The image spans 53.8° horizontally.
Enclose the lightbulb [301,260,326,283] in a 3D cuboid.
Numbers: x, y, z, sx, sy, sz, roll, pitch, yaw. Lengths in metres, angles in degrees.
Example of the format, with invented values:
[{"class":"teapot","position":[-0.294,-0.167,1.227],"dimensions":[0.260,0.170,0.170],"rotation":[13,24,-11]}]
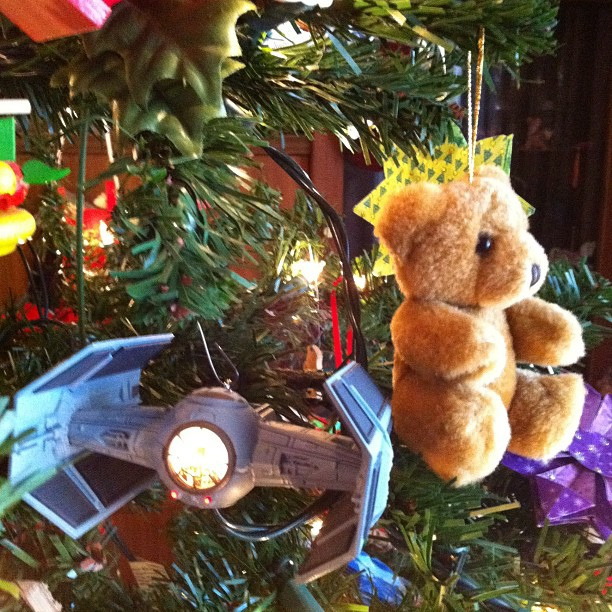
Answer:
[{"class":"lightbulb","position":[0.006,-0.032,0.547],"dimensions":[0.023,0.014,0.006],"rotation":[-49,11,-10]}]

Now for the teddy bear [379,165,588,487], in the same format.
[{"class":"teddy bear","position":[0.115,0.012,0.406],"dimensions":[0.166,0.183,0.118],"rotation":[-5,15,-33]}]
